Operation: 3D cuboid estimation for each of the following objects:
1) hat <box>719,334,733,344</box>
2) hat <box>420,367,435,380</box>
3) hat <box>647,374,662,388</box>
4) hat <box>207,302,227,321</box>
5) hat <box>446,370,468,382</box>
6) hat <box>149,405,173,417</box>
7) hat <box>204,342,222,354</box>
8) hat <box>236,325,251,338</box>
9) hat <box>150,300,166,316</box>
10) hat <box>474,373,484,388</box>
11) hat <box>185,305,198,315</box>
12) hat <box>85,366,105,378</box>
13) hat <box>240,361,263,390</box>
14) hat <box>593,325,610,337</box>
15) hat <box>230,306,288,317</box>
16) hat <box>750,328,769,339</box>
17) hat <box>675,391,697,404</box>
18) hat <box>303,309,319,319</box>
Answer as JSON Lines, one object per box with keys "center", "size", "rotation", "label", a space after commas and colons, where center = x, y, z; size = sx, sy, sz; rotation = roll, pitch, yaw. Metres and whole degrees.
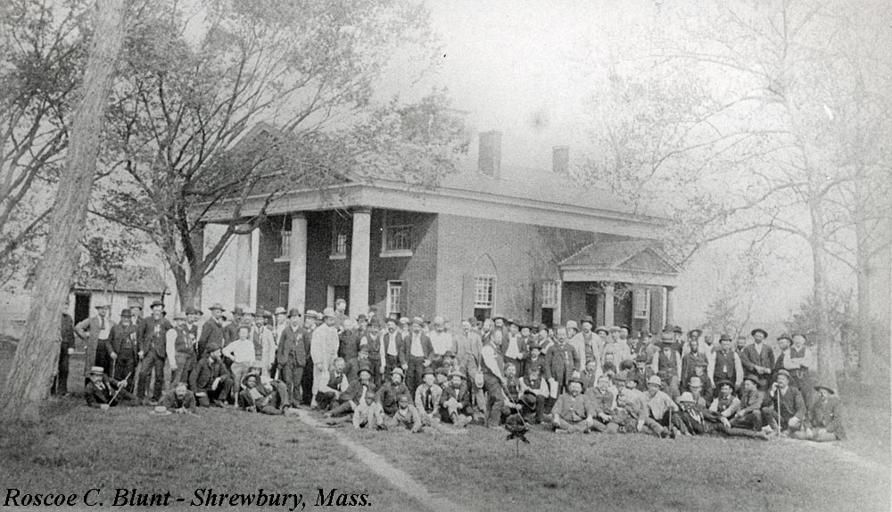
{"center": [7.762, 2.318, 21.423], "size": [0.309, 0.173, 0.341], "rotation": [0, -13, 9], "label": "hat"}
{"center": [-0.459, 3.100, 20.241], "size": [0.329, 0.267, 0.364], "rotation": [2, -5, -5], "label": "hat"}
{"center": [5.573, 3.353, 20.482], "size": [0.319, 0.340, 0.363], "rotation": [8, -11, 7], "label": "hat"}
{"center": [-6.175, 1.513, 21.026], "size": [0.524, 0.512, 0.561], "rotation": [9, -16, -38], "label": "hat"}
{"center": [0.334, 3.130, 20.053], "size": [0.506, 0.234, 0.415], "rotation": [7, -10, -15], "label": "hat"}
{"center": [-7.107, 3.895, 19.286], "size": [0.556, 0.245, 0.550], "rotation": [6, -10, -11], "label": "hat"}
{"center": [-6.090, 2.415, 20.331], "size": [0.353, 0.278, 0.334], "rotation": [9, -11, -28], "label": "hat"}
{"center": [-5.406, 2.043, 20.693], "size": [0.371, 0.456, 0.353], "rotation": [2, -2, -16], "label": "hat"}
{"center": [-7.585, 1.363, 20.337], "size": [0.368, 0.326, 0.370], "rotation": [2, -20, -15], "label": "hat"}
{"center": [0.879, 3.250, 20.079], "size": [0.240, 0.385, 0.248], "rotation": [4, -10, 3], "label": "hat"}
{"center": [-6.864, 1.505, 20.971], "size": [0.323, 0.160, 0.325], "rotation": [3, 2, 40], "label": "hat"}
{"center": [-8.888, 2.958, 19.673], "size": [0.324, 0.282, 0.578], "rotation": [9, -11, -26], "label": "hat"}
{"center": [-5.124, 3.142, 20.443], "size": [0.508, 0.677, 0.331], "rotation": [26, 6, -10], "label": "hat"}
{"center": [4.580, 2.192, 22.614], "size": [0.313, 0.274, 0.309], "rotation": [11, -28, 19], "label": "hat"}
{"center": [-6.008, 1.797, 24.734], "size": [1.394, 0.330, 0.461], "rotation": [5, -5, 3], "label": "hat"}
{"center": [8.589, 2.146, 21.252], "size": [0.372, 0.093, 0.364], "rotation": [7, 4, -3], "label": "hat"}
{"center": [6.421, 3.800, 20.647], "size": [0.324, 0.166, 0.429], "rotation": [2, -3, 6], "label": "hat"}
{"center": [-3.882, 1.686, 22.227], "size": [0.414, 0.138, 0.431], "rotation": [5, -4, -6], "label": "hat"}
